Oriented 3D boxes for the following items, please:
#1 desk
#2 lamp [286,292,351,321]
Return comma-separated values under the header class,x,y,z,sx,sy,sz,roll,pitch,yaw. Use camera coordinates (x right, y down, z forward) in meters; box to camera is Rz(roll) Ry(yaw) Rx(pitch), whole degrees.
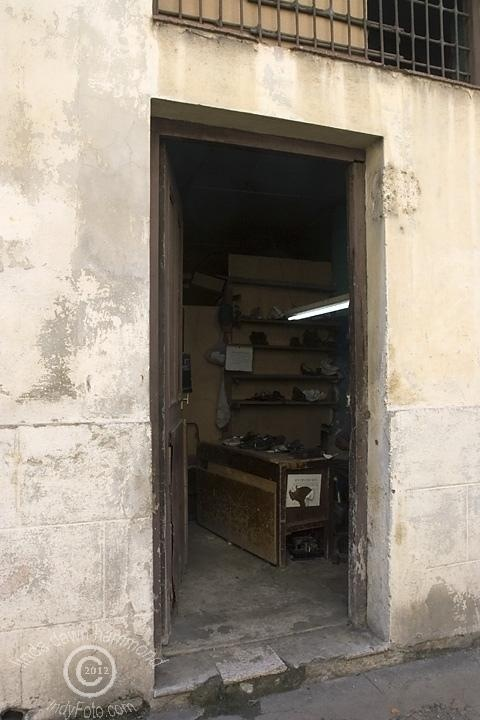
class,x,y,z,sx,sy,sz,roll,pitch,yaw
desk,0.147,0.977,5.720,0.466,0.833,1.215,-2,8,-31
lamp,0.673,-0.404,6.116,0.056,0.157,0.814,9,-8,-24
